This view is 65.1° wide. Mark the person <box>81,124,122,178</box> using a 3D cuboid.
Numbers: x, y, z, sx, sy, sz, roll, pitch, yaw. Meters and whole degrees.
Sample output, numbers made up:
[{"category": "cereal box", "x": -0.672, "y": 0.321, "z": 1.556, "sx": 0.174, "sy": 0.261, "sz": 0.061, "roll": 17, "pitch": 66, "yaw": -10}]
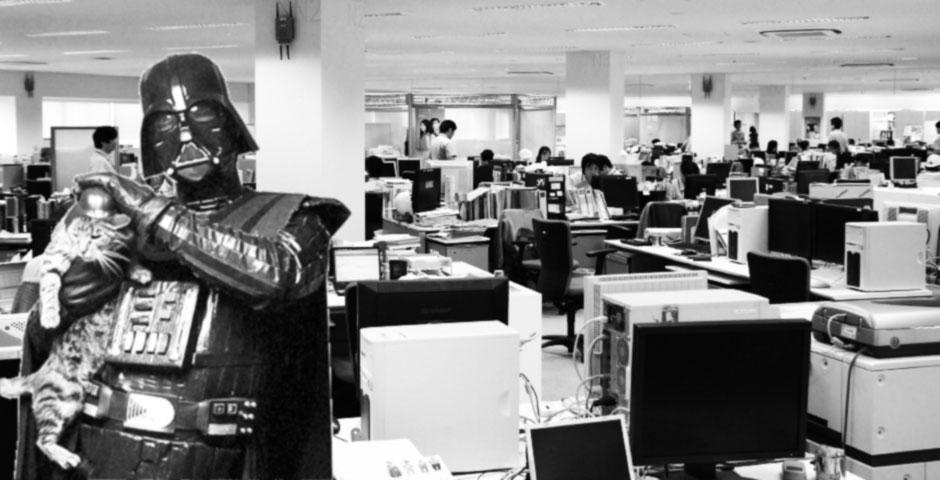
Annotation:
[{"category": "person", "x": -5.300, "y": -1.294, "z": 10.627, "sx": 0.424, "sy": 0.667, "sz": 0.781, "roll": 3, "pitch": 19, "yaw": -24}]
